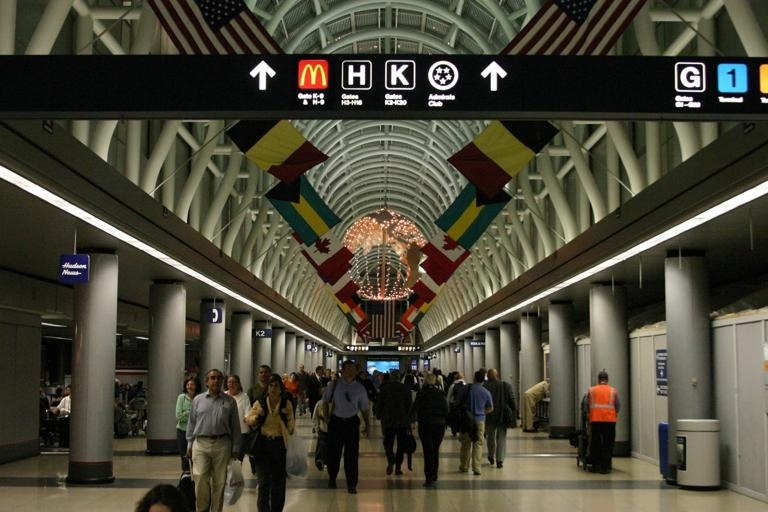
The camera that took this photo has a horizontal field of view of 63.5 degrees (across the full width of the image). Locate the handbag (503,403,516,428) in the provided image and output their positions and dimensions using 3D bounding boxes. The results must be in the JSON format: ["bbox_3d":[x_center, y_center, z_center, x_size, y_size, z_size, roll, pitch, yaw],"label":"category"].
[{"bbox_3d":[3.423,4.327,16.776,0.354,0.565,0.185,4,-7,-7],"label":"handbag"}]

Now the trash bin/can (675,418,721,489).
[{"bbox_3d":[6.978,4.342,13.823,0.789,1.582,0.669,3,-5,8],"label":"trash bin/can"}]

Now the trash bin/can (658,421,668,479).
[{"bbox_3d":[7.001,4.814,15.516,0.246,1.263,0.376,-8,-17,27],"label":"trash bin/can"}]

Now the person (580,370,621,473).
[{"bbox_3d":[5.721,4.255,16.242,0.711,2.369,0.741,1,-6,31],"label":"person"}]
